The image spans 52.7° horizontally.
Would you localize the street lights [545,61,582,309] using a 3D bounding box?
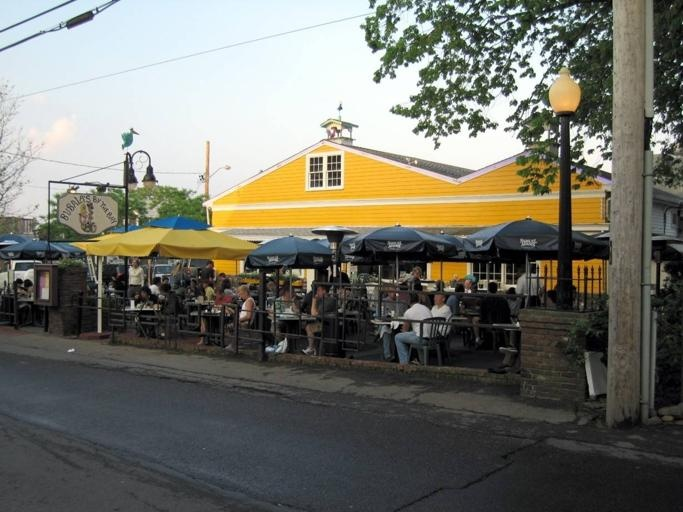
[{"bbox_3d":[3.635,-1.117,11.275,0.458,3.908,0.792,1,6,18],"label":"street lights"}]
